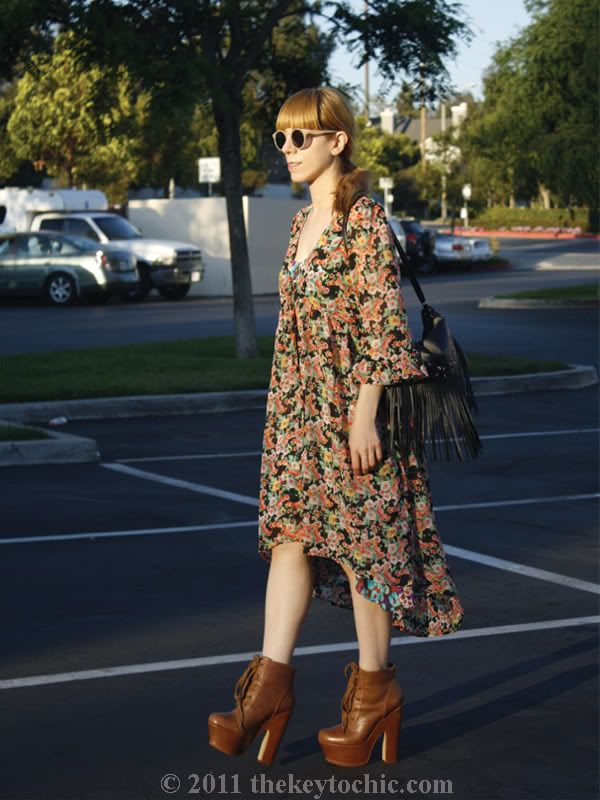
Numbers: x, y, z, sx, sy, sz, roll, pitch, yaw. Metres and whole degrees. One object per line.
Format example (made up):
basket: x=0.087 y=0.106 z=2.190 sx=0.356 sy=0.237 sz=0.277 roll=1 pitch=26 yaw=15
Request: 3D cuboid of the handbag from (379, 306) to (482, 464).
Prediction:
handbag: x=0.268 y=-0.024 z=2.531 sx=0.360 sy=0.390 sz=0.247 roll=4 pitch=-2 yaw=32

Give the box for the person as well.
person: x=0.103 y=0.078 z=2.438 sx=0.617 sy=1.773 sz=0.386 roll=1 pitch=5 yaw=9

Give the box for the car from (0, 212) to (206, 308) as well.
car: x=-2.402 y=-1.987 z=13.189 sx=1.460 sy=1.193 sz=2.959 roll=1 pitch=5 yaw=9
